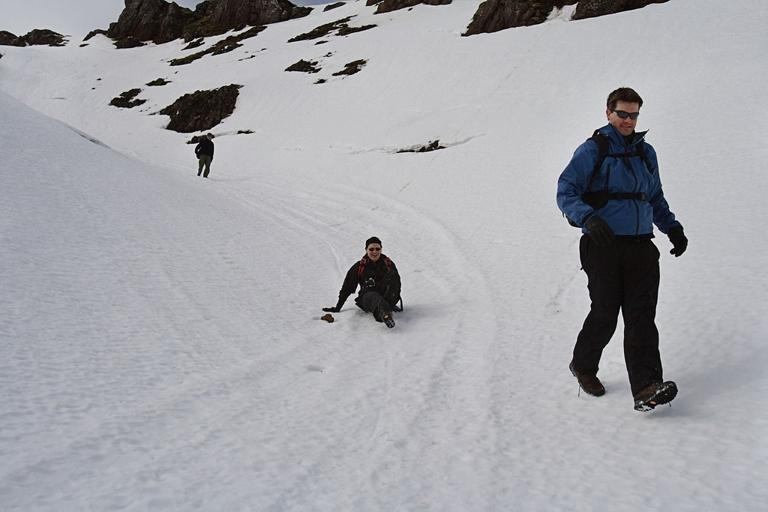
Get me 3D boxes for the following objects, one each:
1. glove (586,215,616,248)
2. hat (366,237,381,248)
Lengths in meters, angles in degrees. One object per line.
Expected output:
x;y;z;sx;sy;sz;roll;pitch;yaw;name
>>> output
3.384;-0.405;13.037;0.417;0.445;0.242;18;35;37;glove
-0.240;-0.269;15.976;0.232;0.141;0.222;-1;6;-11;hat
